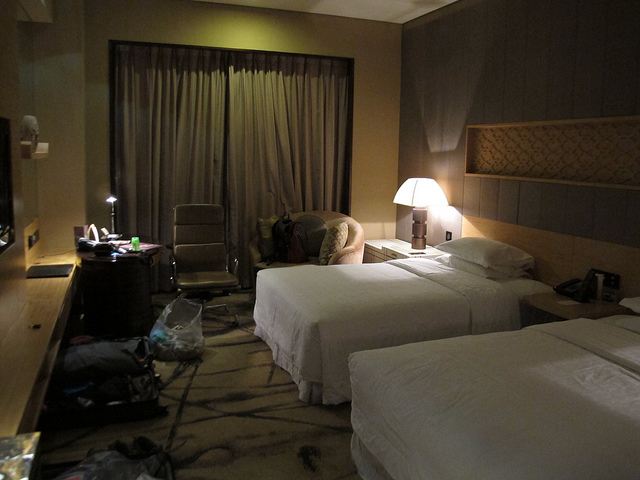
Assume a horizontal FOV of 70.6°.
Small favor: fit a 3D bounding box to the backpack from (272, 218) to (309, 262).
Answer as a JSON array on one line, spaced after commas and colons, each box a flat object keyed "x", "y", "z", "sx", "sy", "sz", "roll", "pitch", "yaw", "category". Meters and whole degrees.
[{"x": -0.365, "y": -0.001, "z": 5.524, "sx": 0.288, "sy": 0.596, "sz": 0.471, "roll": -7, "pitch": 22, "yaw": -29, "category": "backpack"}]

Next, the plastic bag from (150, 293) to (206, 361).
[{"x": -1.346, "y": 0.871, "z": 4.317, "sx": 0.477, "sy": 0.207, "sz": 0.826, "roll": 2, "pitch": 20, "yaw": -12, "category": "plastic bag"}]

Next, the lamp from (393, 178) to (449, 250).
[{"x": 1.229, "y": -0.272, "z": 5.518, "sx": 0.502, "sy": 0.706, "sz": 0.516, "roll": 8, "pitch": 6, "yaw": 22, "category": "lamp"}]

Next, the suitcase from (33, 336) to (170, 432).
[{"x": -1.552, "y": 1.037, "z": 3.219, "sx": 0.571, "sy": 0.172, "sz": 0.611, "roll": 0, "pitch": 12, "yaw": -9, "category": "suitcase"}]

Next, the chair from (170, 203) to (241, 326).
[{"x": -1.294, "y": 0.274, "z": 5.015, "sx": 0.737, "sy": 1.329, "sz": 0.838, "roll": 0, "pitch": 4, "yaw": -5, "category": "chair"}]

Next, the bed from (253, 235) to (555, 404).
[{"x": 0.847, "y": 0.624, "z": 4.518, "sx": 2.659, "sy": 1.097, "sz": 1.933, "roll": -4, "pitch": 8, "yaw": -22, "category": "bed"}]
